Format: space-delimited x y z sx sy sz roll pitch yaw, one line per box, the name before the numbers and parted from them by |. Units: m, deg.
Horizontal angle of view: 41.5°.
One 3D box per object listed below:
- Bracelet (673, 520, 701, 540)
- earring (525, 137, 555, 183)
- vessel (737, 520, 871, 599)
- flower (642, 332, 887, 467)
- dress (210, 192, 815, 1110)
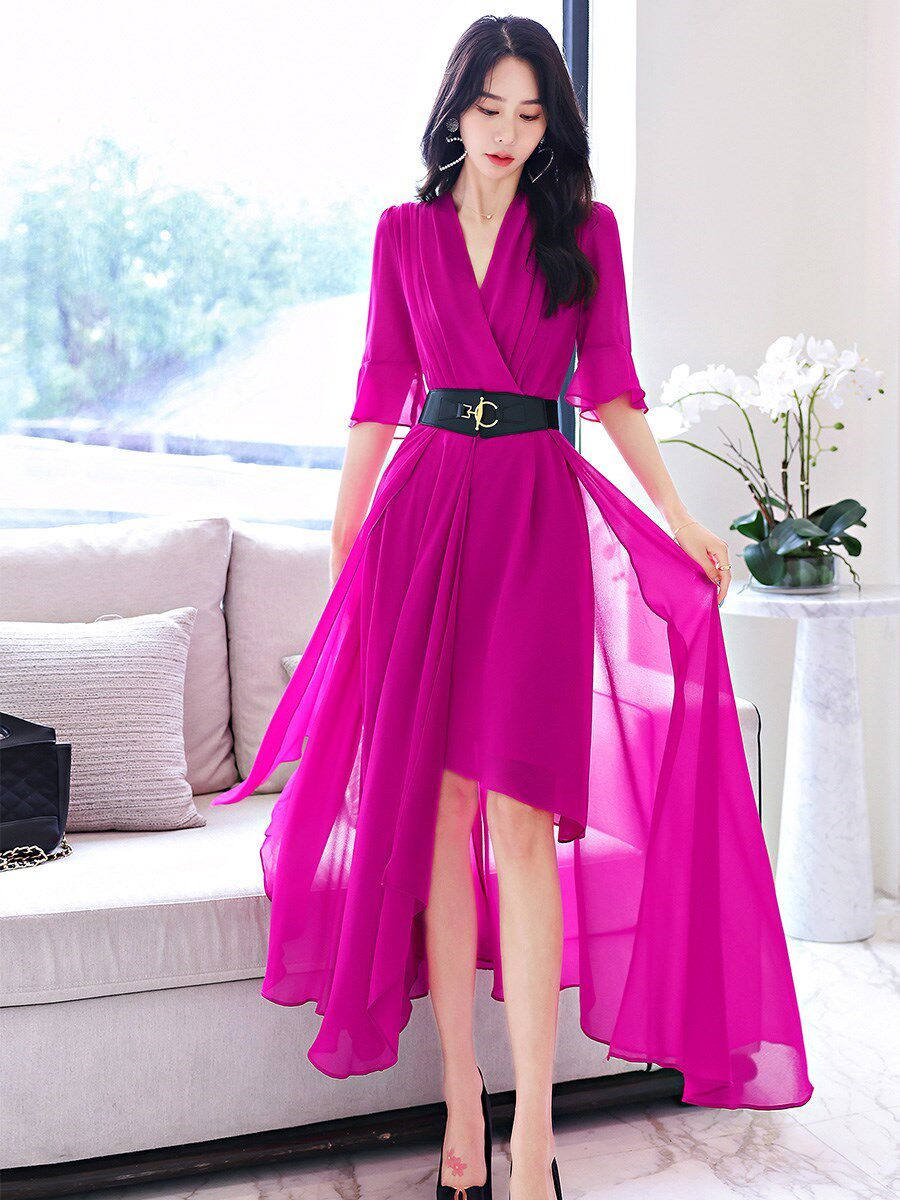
Bracelet | 0.336 -0.093 1.679 0.026 0.012 0.030 -3 -32 -41
earring | 0.130 -0.636 1.743 0.015 0.059 0.061 20 -22 -19
vessel | 0.762 -0.100 2.540 0.195 0.101 0.196 6 8 41
flower | 0.717 -0.373 2.576 0.517 0.255 0.339 -27 25 -21
dress | 0.104 0.046 1.680 0.777 1.240 0.493 2 8 -10
